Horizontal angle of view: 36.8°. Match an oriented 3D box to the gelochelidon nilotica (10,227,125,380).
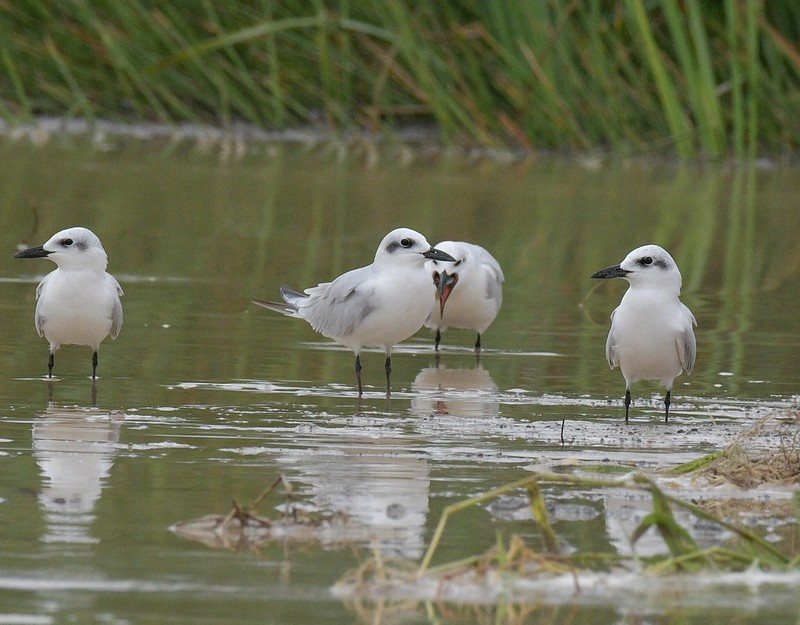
[{"bbox_3d":[-2.403,-0.076,8.892,0.636,1.091,0.522,0,6,-9],"label":"gelochelidon nilotica"}]
